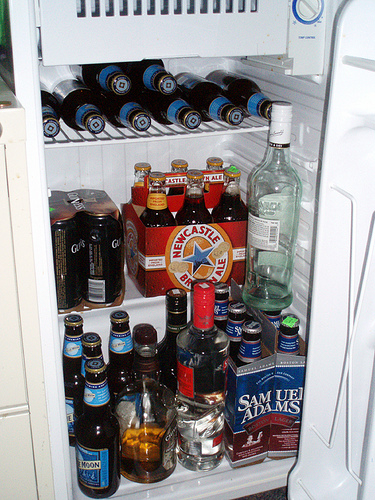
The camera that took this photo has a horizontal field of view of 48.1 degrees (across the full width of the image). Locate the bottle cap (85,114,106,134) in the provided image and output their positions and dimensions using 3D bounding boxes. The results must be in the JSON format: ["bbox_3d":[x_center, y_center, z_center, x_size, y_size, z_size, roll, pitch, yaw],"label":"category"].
[{"bbox_3d":[-0.171,-0.239,0.796,0.032,0.036,0.070,2,19,7],"label":"bottle cap"}]

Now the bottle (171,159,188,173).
[{"bbox_3d":[-0.020,-0.209,1.049,0.035,0.025,0.035,-1,51,1],"label":"bottle"}]

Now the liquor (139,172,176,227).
[{"bbox_3d":[-0.073,-0.115,0.968,0.066,0.156,0.065,8,33,10],"label":"liquor"}]

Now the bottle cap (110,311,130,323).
[{"bbox_3d":[-0.133,0.132,0.820,0.034,0.016,0.043,-8,20,-22],"label":"bottle cap"}]

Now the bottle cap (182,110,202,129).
[{"bbox_3d":[0.010,-0.259,0.835,0.036,0.035,0.039,-3,36,-2],"label":"bottle cap"}]

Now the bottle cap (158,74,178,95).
[{"bbox_3d":[-0.038,-0.315,0.803,0.035,0.034,0.038,17,12,-20],"label":"bottle cap"}]

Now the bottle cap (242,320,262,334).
[{"bbox_3d":[0.122,0.145,0.803,0.033,0.018,0.043,2,19,7],"label":"bottle cap"}]

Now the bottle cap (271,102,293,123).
[{"bbox_3d":[0.168,-0.245,0.748,0.036,0.036,0.034,0,-11,10],"label":"bottle cap"}]

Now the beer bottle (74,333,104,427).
[{"bbox_3d":[-0.230,0.261,0.914,0.058,0.050,0.195,-19,47,-10],"label":"beer bottle"}]

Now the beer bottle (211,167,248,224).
[{"bbox_3d":[0.098,-0.131,1.026,0.074,0.184,0.072,2,36,-1],"label":"beer bottle"}]

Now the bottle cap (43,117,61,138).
[{"bbox_3d":[-0.248,-0.224,0.768,0.027,0.036,0.062,-6,20,-15],"label":"bottle cap"}]

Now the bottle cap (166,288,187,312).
[{"bbox_3d":[-0.020,0.100,0.836,0.043,0.044,0.040,0,35,0],"label":"bottle cap"}]

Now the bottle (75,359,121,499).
[{"bbox_3d":[-0.167,0.333,0.767,0.086,0.308,0.073,-6,20,-16],"label":"bottle"}]

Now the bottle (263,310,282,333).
[{"bbox_3d":[0.184,0.153,0.892,0.038,0.064,0.038,-1,69,3],"label":"bottle"}]

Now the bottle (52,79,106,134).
[{"bbox_3d":[-0.226,-0.301,0.872,0.052,0.052,0.175,-29,36,-8],"label":"bottle"}]

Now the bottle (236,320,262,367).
[{"bbox_3d":[0.123,0.175,0.831,0.051,0.094,0.081,3,19,10],"label":"bottle"}]

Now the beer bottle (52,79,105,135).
[{"bbox_3d":[-0.226,-0.300,0.872,0.053,0.053,0.175,-27,35,-6],"label":"beer bottle"}]

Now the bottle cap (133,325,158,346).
[{"bbox_3d":[-0.078,0.157,0.780,0.041,0.025,0.060,-3,19,-8],"label":"bottle cap"}]

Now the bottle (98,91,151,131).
[{"bbox_3d":[-0.136,-0.296,0.890,0.051,0.046,0.153,-40,28,-2],"label":"bottle"}]

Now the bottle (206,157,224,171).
[{"bbox_3d":[0.069,-0.228,1.103,0.040,0.033,0.040,18,30,26],"label":"bottle"}]

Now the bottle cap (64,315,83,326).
[{"bbox_3d":[-0.223,0.138,0.821,0.033,0.019,0.025,-4,19,-10],"label":"bottle cap"}]

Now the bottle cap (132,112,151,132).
[{"bbox_3d":[-0.088,-0.245,0.804,0.035,0.034,0.039,31,22,-20],"label":"bottle cap"}]

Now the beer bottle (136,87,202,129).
[{"bbox_3d":[-0.042,-0.310,0.913,0.048,0.048,0.145,-34,29,-9],"label":"beer bottle"}]

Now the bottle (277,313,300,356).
[{"bbox_3d":[0.198,0.169,0.830,0.037,0.089,0.037,-3,46,3],"label":"bottle"}]

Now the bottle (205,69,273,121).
[{"bbox_3d":[0.123,-0.356,0.973,0.080,0.088,0.240,-34,38,-3],"label":"bottle"}]

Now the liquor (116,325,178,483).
[{"bbox_3d":[-0.082,0.311,0.853,0.129,0.324,0.127,-8,20,-27],"label":"liquor"}]

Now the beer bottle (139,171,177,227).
[{"bbox_3d":[-0.069,-0.077,0.971,0.083,0.192,0.081,0,21,0],"label":"beer bottle"}]

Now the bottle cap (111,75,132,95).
[{"bbox_3d":[-0.122,-0.304,0.774,0.031,0.030,0.008,-6,26,-29],"label":"bottle cap"}]

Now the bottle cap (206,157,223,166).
[{"bbox_3d":[0.075,-0.230,1.079,0.031,0.007,0.031,16,31,22],"label":"bottle cap"}]

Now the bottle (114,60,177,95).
[{"bbox_3d":[-0.093,-0.361,0.884,0.060,0.067,0.227,-21,33,-14],"label":"bottle"}]

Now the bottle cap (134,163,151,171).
[{"bbox_3d":[-0.108,-0.204,1.021,0.025,0.006,0.025,13,30,19],"label":"bottle cap"}]

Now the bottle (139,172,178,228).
[{"bbox_3d":[-0.071,-0.116,0.973,0.068,0.160,0.067,1,31,-1],"label":"bottle"}]

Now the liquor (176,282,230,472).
[{"bbox_3d":[0.032,0.262,0.868,0.109,0.391,0.104,2,12,9],"label":"liquor"}]
